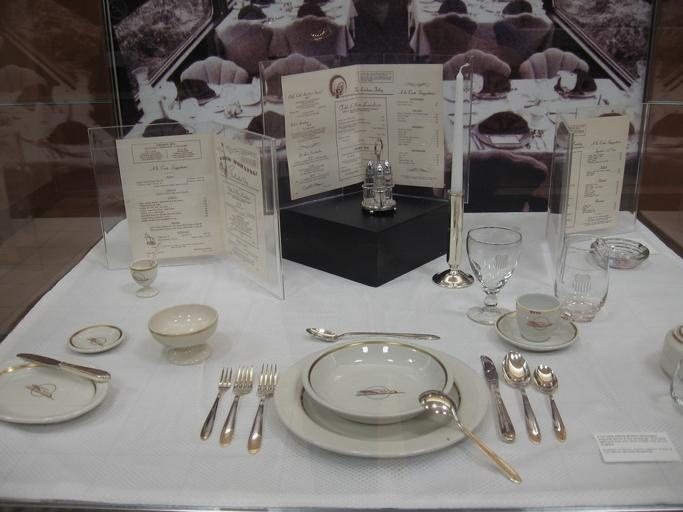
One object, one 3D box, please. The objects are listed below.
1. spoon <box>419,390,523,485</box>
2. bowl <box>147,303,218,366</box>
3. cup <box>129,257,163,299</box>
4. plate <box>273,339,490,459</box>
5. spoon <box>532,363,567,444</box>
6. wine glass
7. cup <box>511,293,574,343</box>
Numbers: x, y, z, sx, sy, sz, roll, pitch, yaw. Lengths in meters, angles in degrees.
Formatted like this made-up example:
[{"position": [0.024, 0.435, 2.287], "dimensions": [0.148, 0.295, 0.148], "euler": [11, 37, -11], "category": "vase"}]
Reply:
[{"position": [0.160, 0.236, 0.714], "dimensions": [0.054, 0.033, 0.232], "euler": [-18, 30, -17], "category": "spoon"}, {"position": [-0.275, 0.132, 0.906], "dimensions": [0.109, 0.070, 0.109], "euler": [2, 17, -1], "category": "bowl"}, {"position": [-0.441, 0.051, 1.155], "dimensions": [0.060, 0.069, 0.062], "euler": [1, 17, 0], "category": "cup"}, {"position": [0.065, 0.197, 0.792], "dimensions": [0.350, 0.047, 0.357], "euler": [7, 1, 4], "category": "plate"}, {"position": [0.323, 0.224, 0.781], "dimensions": [0.029, 0.020, 0.142], "euler": [-7, 34, 12], "category": "spoon"}, {"position": [0.309, 0.045, 1.039], "dimensions": [0.120, 0.200, 0.118], "euler": [-4, 28, 1], "category": "wine glass"}, {"position": [0.348, 0.106, 0.905], "dimensions": [0.091, 0.068, 0.073], "euler": [-14, 26, -27], "category": "cup"}]
